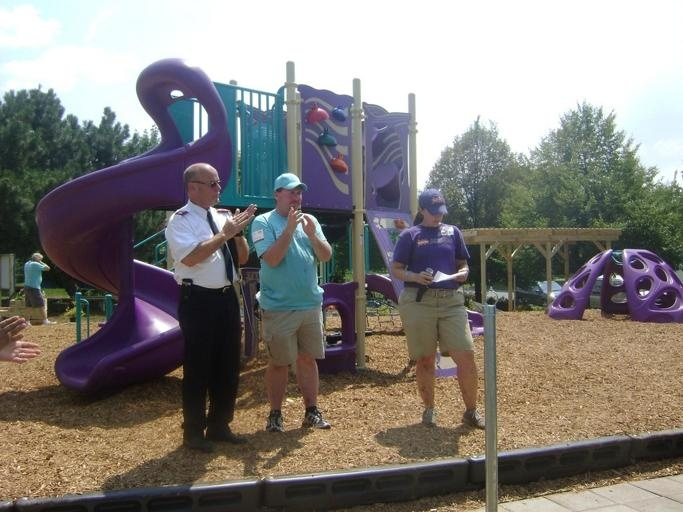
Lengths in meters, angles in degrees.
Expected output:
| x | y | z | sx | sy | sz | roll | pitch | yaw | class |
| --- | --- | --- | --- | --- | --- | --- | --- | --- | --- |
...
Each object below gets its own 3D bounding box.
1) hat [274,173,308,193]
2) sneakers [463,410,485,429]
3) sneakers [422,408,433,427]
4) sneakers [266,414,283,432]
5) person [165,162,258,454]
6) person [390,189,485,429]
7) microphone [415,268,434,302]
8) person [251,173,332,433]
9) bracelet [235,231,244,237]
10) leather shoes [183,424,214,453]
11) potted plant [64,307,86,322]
| x | y | z | sx | sy | sz | roll | pitch | yaw | class |
| --- | --- | --- | --- | --- | --- | --- | --- | --- | --- |
| -0.566 | -0.780 | 8.542 | 0.283 | 0.161 | 0.212 | -2 | 2 | 29 | hat |
| 1.421 | 1.752 | 8.529 | 0.272 | 0.129 | 0.107 | 6 | 7 | 41 | sneakers |
| 0.946 | 1.743 | 8.618 | 0.139 | 0.165 | 0.160 | 0 | 4 | 8 | sneakers |
| -0.708 | 1.747 | 8.417 | 0.187 | 0.186 | 0.215 | -1 | 4 | -7 | sneakers |
| -1.362 | 0.496 | 8.037 | 0.738 | 2.830 | 0.477 | -2 | 4 | -14 | person |
| 1.032 | 0.548 | 8.676 | 0.944 | 2.555 | 0.629 | -1 | 3 | 3 | person |
| 0.895 | 0.361 | 8.668 | 0.114 | 0.461 | 0.133 | 17 | 12 | 15 | microphone |
| -0.538 | 0.476 | 8.490 | 0.801 | 2.706 | 0.515 | -1 | 3 | -4 | person |
| -1.065 | -0.235 | 8.277 | 0.062 | 0.065 | 0.065 | 1 | -2 | -2 | bracelet |
| -1.444 | 1.831 | 7.927 | 0.375 | 0.286 | 0.170 | -5 | -9 | 28 | leather shoes |
| -6.394 | 1.396 | 18.829 | 0.313 | 0.338 | 0.325 | -6 | -5 | 22 | potted plant |
